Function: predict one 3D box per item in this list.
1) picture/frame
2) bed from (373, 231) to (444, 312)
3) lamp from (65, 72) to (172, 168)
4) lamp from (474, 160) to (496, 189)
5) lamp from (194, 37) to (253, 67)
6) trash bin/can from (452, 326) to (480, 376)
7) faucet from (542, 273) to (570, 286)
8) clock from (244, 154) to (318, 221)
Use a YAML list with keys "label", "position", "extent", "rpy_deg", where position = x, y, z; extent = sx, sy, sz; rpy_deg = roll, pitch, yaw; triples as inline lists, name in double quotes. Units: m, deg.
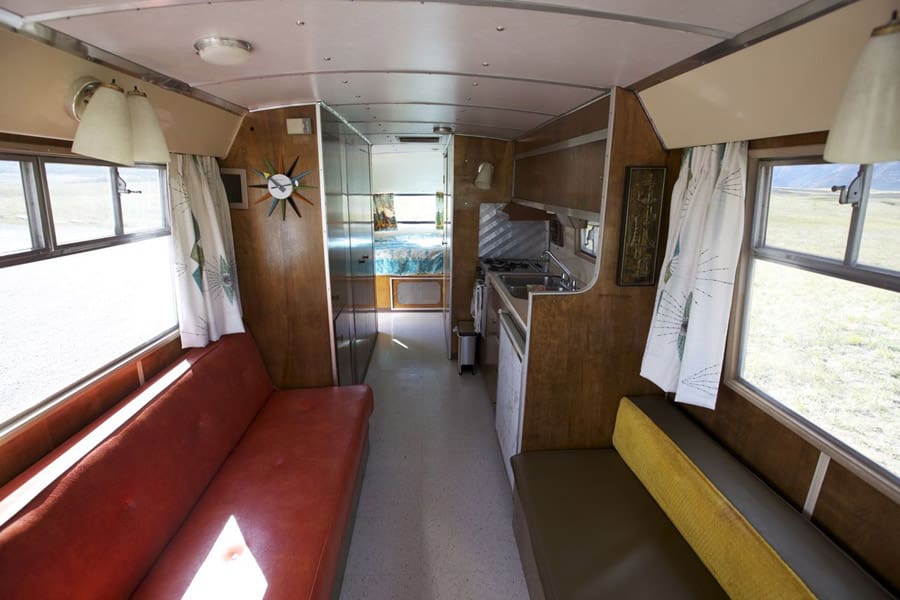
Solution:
- label: "picture/frame"
  position: [1.224, -0.457, 3.539]
  extent: [0.288, 0.746, 0.058]
  rpy_deg: [-3, 15, -11]
- label: "bed"
  position: [-0.573, -0.421, 8.211]
  extent: [1.037, 0.667, 1.051]
  rpy_deg: [0, 16, -4]
- label: "lamp"
  position: [-1.534, -0.822, 2.613]
  extent: [0.205, 0.366, 0.371]
  rpy_deg: [5, 15, 17]
- label: "lamp"
  position: [0.354, -1.255, 5.670]
  extent: [0.187, 0.280, 0.303]
  rpy_deg: [1, 15, 4]
- label: "lamp"
  position: [-1.183, -1.299, 2.940]
  extent: [0.305, 0.099, 0.235]
  rpy_deg: [0, 14, -3]
- label: "trash bin/can"
  position: [0.201, 0.518, 5.935]
  extent: [0.233, 0.459, 0.295]
  rpy_deg: [1, 15, 1]
- label: "faucet"
  position: [0.979, -0.188, 5.118]
  extent: [0.180, 0.109, 0.416]
  rpy_deg: [0, 14, -2]
- label: "clock"
  position: [-1.264, -0.866, 4.191]
  extent: [0.437, 0.463, 0.047]
  rpy_deg: [-1, 7, -6]
